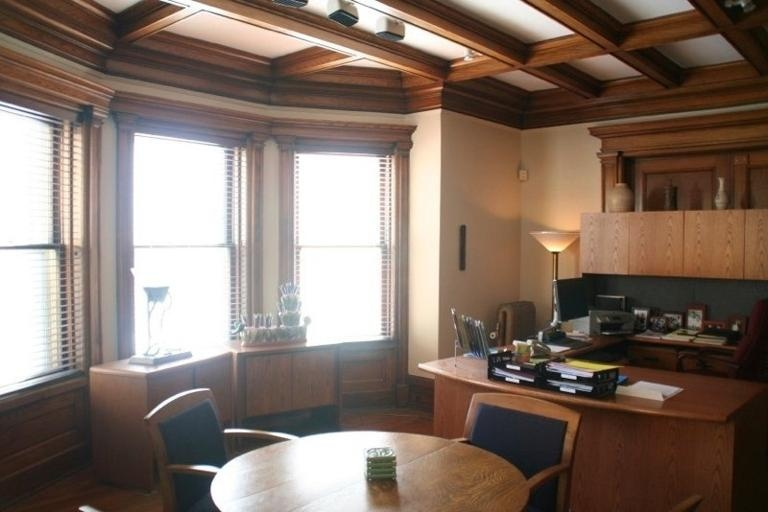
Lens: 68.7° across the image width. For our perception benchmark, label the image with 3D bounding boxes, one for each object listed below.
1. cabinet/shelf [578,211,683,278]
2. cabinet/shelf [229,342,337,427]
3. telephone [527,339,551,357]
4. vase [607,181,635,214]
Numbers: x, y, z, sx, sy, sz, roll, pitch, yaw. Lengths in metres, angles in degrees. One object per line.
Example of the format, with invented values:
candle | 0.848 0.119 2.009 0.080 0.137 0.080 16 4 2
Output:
cabinet/shelf | 2.783 -0.140 6.309 1.282 0.764 0.658 1 2 33
cabinet/shelf | -1.021 1.215 5.488 0.972 0.821 0.332 0 -3 -33
telephone | 1.252 0.734 4.539 0.139 0.066 0.142 3 3 -19
vase | 2.710 -0.669 6.431 0.343 0.371 0.342 -1 1 33
